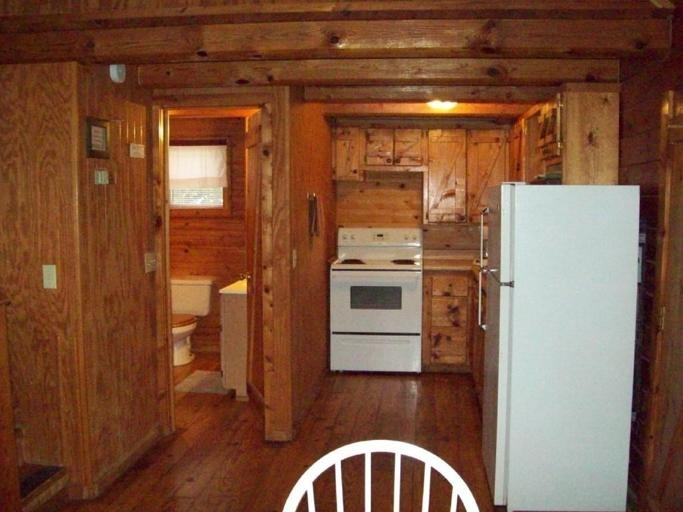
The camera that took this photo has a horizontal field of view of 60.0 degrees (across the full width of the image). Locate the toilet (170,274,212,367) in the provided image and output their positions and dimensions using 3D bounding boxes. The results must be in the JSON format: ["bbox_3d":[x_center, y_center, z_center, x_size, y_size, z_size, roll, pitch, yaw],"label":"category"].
[{"bbox_3d":[-1.532,0.657,5.857,0.431,0.803,0.723,0,10,0],"label":"toilet"}]

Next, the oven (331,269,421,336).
[{"bbox_3d":[0.339,0.308,5.773,0.892,0.646,0.596,0,-1,3],"label":"oven"}]

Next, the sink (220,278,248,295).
[{"bbox_3d":[-0.936,0.240,5.101,0.216,0.121,0.530,-2,10,-11],"label":"sink"}]

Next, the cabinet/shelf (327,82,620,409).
[{"bbox_3d":[0.963,-0.082,4.527,2.563,2.512,1.316,0,3,8],"label":"cabinet/shelf"}]
